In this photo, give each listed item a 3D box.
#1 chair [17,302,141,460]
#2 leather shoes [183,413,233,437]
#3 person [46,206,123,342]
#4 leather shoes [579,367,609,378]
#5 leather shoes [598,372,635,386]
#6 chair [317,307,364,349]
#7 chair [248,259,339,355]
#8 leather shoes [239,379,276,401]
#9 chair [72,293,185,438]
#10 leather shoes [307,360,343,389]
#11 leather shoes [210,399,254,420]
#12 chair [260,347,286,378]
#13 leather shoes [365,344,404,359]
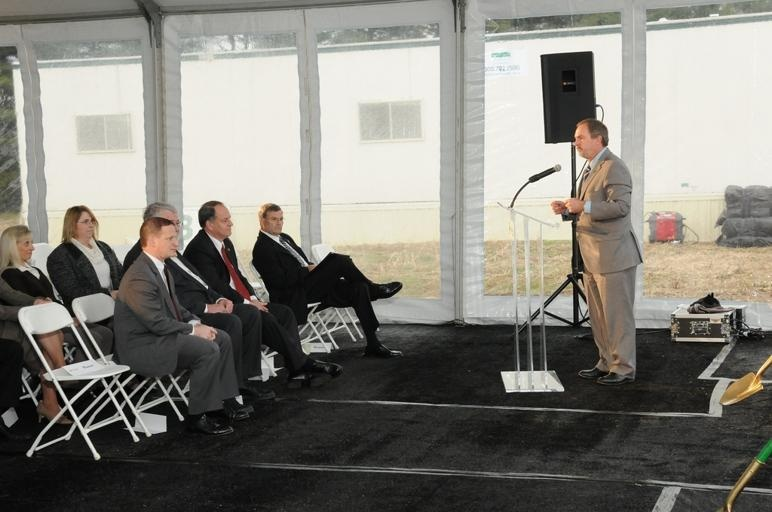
[{"bbox_3d":[-2.680,1.027,7.480,1.004,1.362,1.069,0,2,13],"label":"chair"},{"bbox_3d":[-1.617,1.498,7.418,0.495,0.209,0.175,-1,-1,13],"label":"leather shoes"},{"bbox_3d":[-2.969,0.238,8.507,0.771,1.419,0.771,-3,8,-3],"label":"person"},{"bbox_3d":[2.094,1.175,8.377,0.307,0.111,0.107,2,-6,-16],"label":"leather shoes"},{"bbox_3d":[2.232,1.206,8.180,0.385,0.136,0.135,3,-9,-15],"label":"leather shoes"},{"bbox_3d":[-0.573,0.902,10.319,0.285,0.419,0.313,-24,-33,-21],"label":"chair"},{"bbox_3d":[-1.080,0.740,10.214,1.123,1.452,1.170,-2,-1,15],"label":"chair"},{"bbox_3d":[-1.195,1.316,8.114,0.420,0.155,0.149,1,1,1],"label":"leather shoes"},{"bbox_3d":[-2.435,0.999,7.824,0.973,1.355,1.071,0,2,9],"label":"chair"},{"bbox_3d":[-0.608,1.180,8.509,0.437,0.177,0.157,-7,5,-1],"label":"leather shoes"},{"bbox_3d":[-1.459,1.406,7.603,0.467,0.187,0.155,-3,-1,11],"label":"leather shoes"},{"bbox_3d":[-1.205,1.104,8.817,0.212,0.230,0.213,-12,-22,39],"label":"chair"},{"bbox_3d":[-0.029,1.076,9.421,0.460,0.172,0.160,-3,-4,9],"label":"leather shoes"}]
